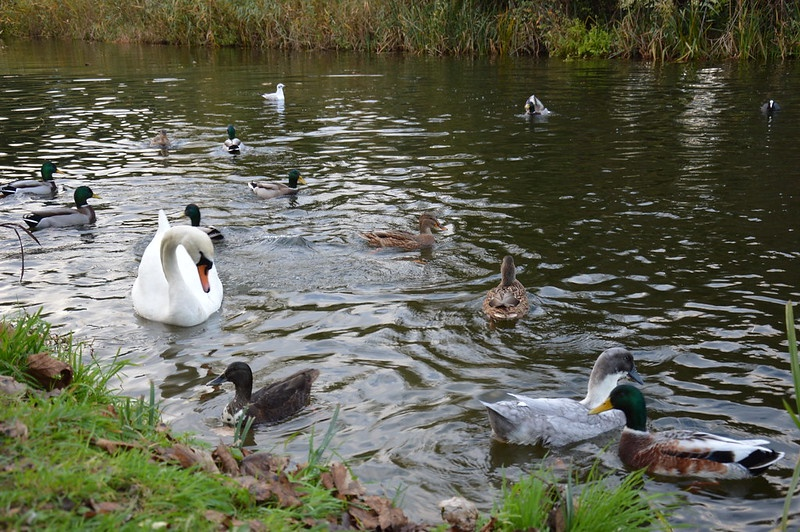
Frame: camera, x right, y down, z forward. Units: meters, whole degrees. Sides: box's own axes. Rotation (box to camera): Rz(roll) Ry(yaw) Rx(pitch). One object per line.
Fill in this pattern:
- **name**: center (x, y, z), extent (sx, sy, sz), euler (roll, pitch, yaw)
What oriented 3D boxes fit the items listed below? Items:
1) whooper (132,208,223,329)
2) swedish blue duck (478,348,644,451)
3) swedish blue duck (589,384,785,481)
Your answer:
- **whooper**: center (-3.669, 0.094, 12.194), extent (1.559, 1.645, 0.987), euler (8, 23, 26)
- **swedish blue duck**: center (2.095, 2.029, 11.118), extent (4.203, 1.469, 1.378), euler (-2, -1, -2)
- **swedish blue duck**: center (3.624, 2.106, 9.235), extent (2.322, 1.126, 0.775), euler (2, 0, 4)
